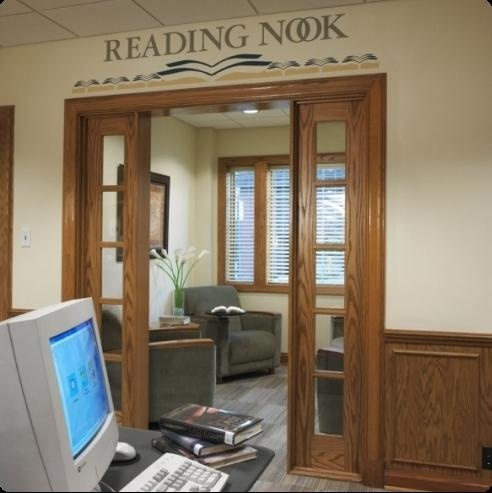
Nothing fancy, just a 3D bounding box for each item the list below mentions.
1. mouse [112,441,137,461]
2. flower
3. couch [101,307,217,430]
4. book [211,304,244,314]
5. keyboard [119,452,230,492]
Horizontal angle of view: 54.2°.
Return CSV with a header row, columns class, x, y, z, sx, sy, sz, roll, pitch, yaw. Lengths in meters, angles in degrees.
class,x,y,z,sx,sy,sz,roll,pitch,yaw
mouse,-0.349,0.597,1.418,0.055,0.024,0.044,1,1,27
flower,-0.772,0.353,5.336,0.487,0.640,0.440,-4,-4,36
couch,-0.771,0.780,3.684,0.715,0.984,0.823,-2,-3,42
book,-0.172,0.669,5.106,0.337,0.089,0.569,-2,-1,2
keyboard,-0.168,0.596,1.206,0.215,0.056,0.215,-2,-2,16
